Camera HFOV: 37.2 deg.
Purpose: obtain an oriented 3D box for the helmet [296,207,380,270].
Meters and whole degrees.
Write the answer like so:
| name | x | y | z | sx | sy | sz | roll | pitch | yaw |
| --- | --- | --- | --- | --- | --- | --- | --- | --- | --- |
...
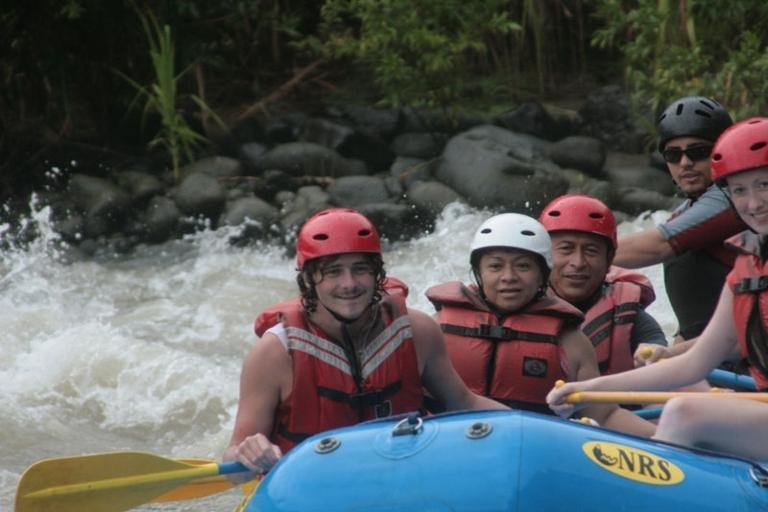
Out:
| name | x | y | z | sx | sy | sz | roll | pitch | yaw |
| --- | --- | --- | --- | --- | --- | --- | --- | --- | --- |
| helmet | -0.419 | -0.199 | 9.998 | 0.498 | 0.670 | 0.518 | 5 | 52 | -18 |
